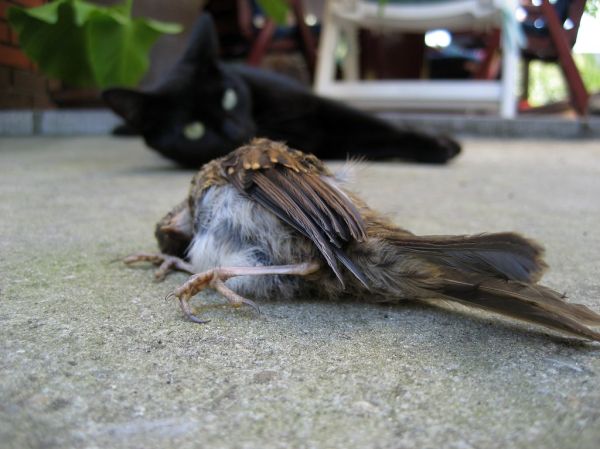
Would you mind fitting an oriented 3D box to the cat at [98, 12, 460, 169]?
[{"bbox_3d":[0.269,-0.753,3.724,2.986,0.887,0.701,-4,-21,-19],"label":"cat"}]
